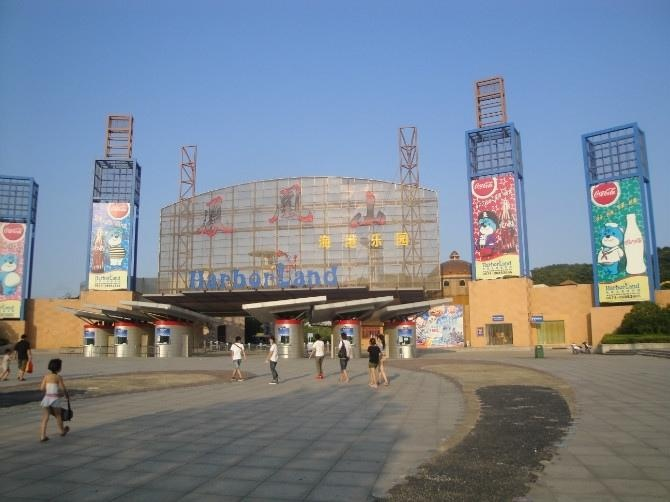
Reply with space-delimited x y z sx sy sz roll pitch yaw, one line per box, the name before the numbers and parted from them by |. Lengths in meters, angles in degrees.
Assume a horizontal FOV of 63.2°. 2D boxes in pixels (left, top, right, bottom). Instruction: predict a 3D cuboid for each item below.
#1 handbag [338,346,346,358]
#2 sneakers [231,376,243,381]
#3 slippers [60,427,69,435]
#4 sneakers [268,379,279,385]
handbag | 0.252 3.917 21.097 0.405 0.433 0.229 -9 -10 38
sneakers | -3.997 5.264 22.410 0.538 0.210 0.174 -7 -8 30
slippers | -5.735 3.825 11.597 0.103 0.104 0.260 2 6 -5
sneakers | -2.405 5.196 21.524 0.234 0.241 0.646 1 -14 -3
